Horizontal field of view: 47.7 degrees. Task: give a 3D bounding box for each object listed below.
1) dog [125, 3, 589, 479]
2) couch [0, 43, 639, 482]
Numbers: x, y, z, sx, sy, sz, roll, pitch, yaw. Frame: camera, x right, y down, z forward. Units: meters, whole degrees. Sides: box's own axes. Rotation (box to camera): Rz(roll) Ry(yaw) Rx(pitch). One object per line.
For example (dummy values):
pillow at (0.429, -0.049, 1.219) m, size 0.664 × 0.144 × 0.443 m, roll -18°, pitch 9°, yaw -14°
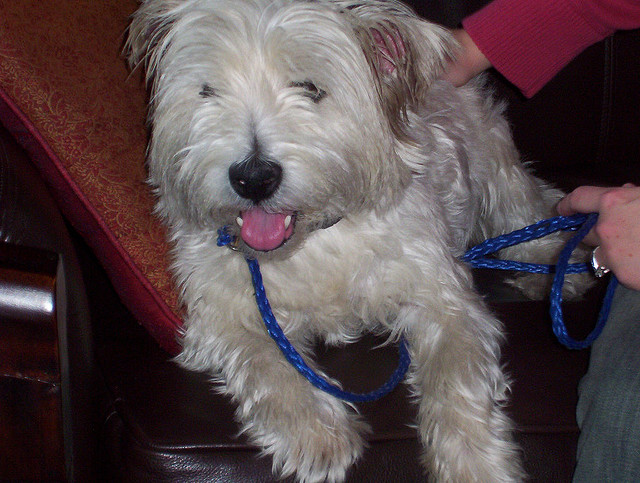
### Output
dog at (0.149, -0.154, 2.338) m, size 1.377 × 1.067 × 1.358 m, roll -16°, pitch 43°, yaw -15°
couch at (-0.424, 0.251, 3.015) m, size 2.767 × 1.334 × 1.534 m, roll 2°, pitch 68°, yaw -18°
